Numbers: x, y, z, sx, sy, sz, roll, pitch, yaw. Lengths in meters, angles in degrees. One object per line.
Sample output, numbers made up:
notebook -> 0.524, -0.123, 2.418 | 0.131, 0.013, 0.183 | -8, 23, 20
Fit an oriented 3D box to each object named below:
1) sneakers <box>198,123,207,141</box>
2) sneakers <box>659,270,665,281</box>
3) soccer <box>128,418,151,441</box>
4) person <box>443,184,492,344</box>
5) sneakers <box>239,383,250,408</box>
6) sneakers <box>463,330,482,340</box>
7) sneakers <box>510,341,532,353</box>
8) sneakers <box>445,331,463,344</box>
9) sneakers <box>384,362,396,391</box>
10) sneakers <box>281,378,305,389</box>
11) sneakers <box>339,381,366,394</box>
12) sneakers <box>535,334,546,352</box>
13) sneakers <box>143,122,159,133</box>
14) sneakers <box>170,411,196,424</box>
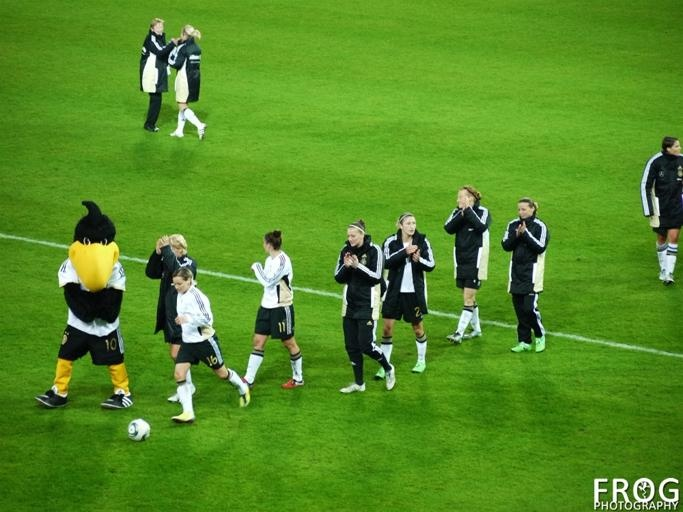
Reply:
sneakers -> -3.548, -3.059, 28.259 | 0.186, 0.440, 0.157 | 9, 45, 9
sneakers -> 6.612, 0.397, 23.390 | 0.142, 0.165, 0.386 | 0, 10, 5
soccer -> -3.234, 2.729, 17.968 | 0.306, 0.355, 0.291 | 23, -42, -31
person -> 2.301, 0.162, 21.096 | 0.829, 2.919, 0.546 | 5, 9, 4
sneakers -> -1.658, 2.307, 19.021 | 0.150, 0.424, 0.188 | -1, 6, -10
sneakers -> 2.461, 1.476, 21.404 | 0.391, 0.167, 0.143 | -2, 9, -8
sneakers -> 3.299, 1.667, 20.917 | 0.384, 0.173, 0.163 | -1, 16, -9
sneakers -> 2.091, 1.519, 21.163 | 0.305, 0.152, 0.160 | 7, -3, -41
sneakers -> 0.788, 2.068, 19.545 | 0.154, 0.459, 0.198 | -9, -22, 35
sneakers -> -0.886, 2.208, 19.728 | 0.377, 0.161, 0.157 | 1, -1, -6
sneakers -> 0.163, 2.260, 19.575 | 0.469, 0.188, 0.168 | -1, 12, -1
sneakers -> 3.641, 1.593, 20.897 | 0.122, 0.157, 0.367 | -4, 33, 29
sneakers -> -4.879, -3.240, 28.716 | 0.383, 0.176, 0.157 | 10, 19, 34
sneakers -> -2.617, 2.613, 18.441 | 0.390, 0.171, 0.158 | -1, 28, -6
